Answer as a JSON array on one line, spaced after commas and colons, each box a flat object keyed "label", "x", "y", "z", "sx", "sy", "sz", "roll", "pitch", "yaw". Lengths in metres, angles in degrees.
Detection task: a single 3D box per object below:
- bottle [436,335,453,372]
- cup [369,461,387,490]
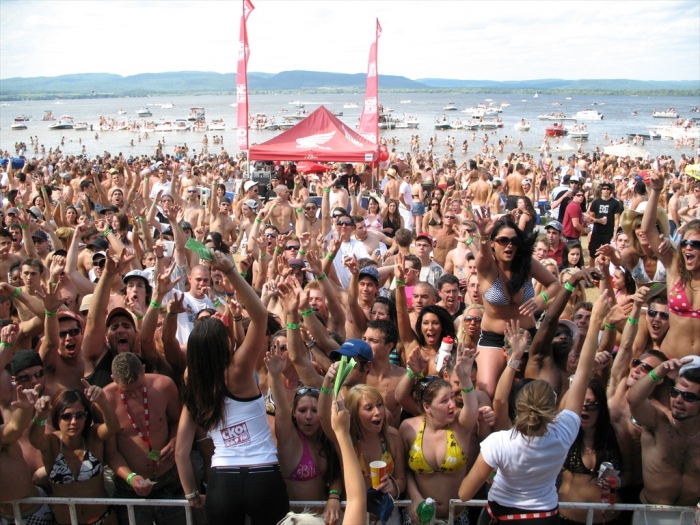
[{"label": "bottle", "x": 1.024, "y": 0.991, "z": 7.189, "sx": 0.179, "sy": 0.471, "sz": 0.283, "roll": -2, "pitch": 11, "yaw": 7}, {"label": "cup", "x": 0.252, "y": 1.895, "z": 6.034, "sx": 0.219, "sy": 0.253, "sz": 0.240, "roll": 1, "pitch": 7, "yaw": 0}]
